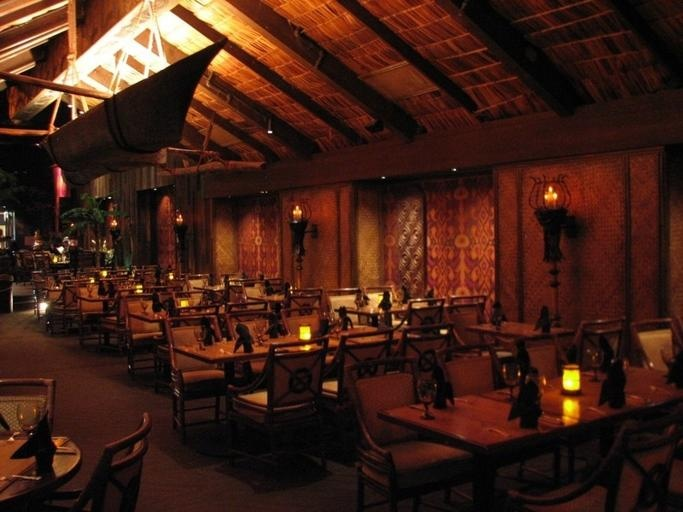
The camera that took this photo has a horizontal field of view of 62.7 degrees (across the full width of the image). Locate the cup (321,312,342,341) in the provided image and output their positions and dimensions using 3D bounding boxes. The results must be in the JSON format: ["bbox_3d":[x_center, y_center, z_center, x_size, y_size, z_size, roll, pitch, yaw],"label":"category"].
[{"bbox_3d":[-0.105,0.712,5.730,0.171,0.268,0.275,2,-7,0],"label":"cup"}]

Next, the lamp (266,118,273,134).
[{"bbox_3d":[-1.364,-2.468,10.706,0.118,0.300,0.233,-2,-4,13],"label":"lamp"}]

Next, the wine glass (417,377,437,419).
[{"bbox_3d":[0.508,0.841,3.346,0.107,0.225,0.280,-2,-4,8],"label":"wine glass"}]

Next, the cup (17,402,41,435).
[{"bbox_3d":[-1.555,0.821,2.808,0.164,0.161,0.083,-4,-4,26],"label":"cup"}]

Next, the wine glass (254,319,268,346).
[{"bbox_3d":[-0.770,0.757,5.527,0.163,0.265,0.145,7,-9,-43],"label":"wine glass"}]

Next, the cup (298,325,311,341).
[{"bbox_3d":[-0.340,0.755,5.424,0.136,0.138,0.133,0,-6,0],"label":"cup"}]
